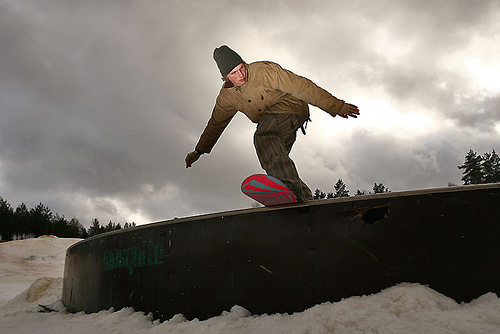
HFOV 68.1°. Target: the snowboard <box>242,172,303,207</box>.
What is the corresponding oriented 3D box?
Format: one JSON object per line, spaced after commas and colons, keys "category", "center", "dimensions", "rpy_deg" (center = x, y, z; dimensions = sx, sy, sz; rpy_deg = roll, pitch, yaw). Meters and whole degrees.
{"category": "snowboard", "center": [0.201, 0.248, 4.082], "dimensions": [0.320, 0.112, 0.676], "rpy_deg": [-26, -53, 34]}
